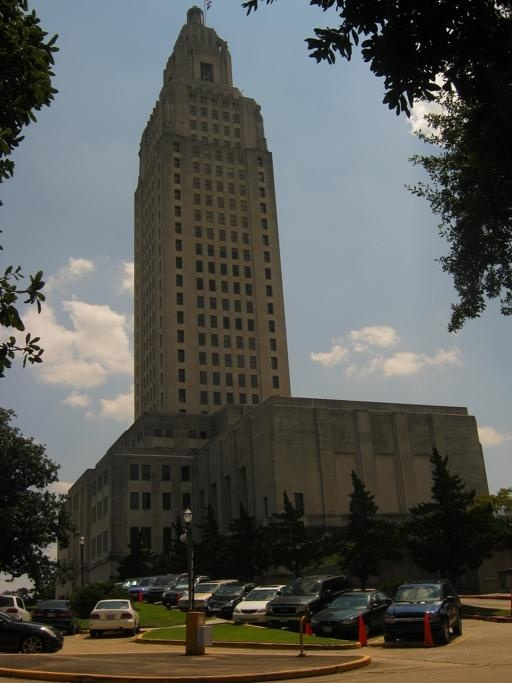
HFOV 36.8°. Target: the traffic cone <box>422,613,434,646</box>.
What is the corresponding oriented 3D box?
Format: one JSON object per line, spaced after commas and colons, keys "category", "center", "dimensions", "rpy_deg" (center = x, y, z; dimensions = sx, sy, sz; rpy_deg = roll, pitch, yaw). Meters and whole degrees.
{"category": "traffic cone", "center": [4.137, 6.948, 18.621], "dimensions": [0.209, 0.731, 0.462], "rpy_deg": [-6, -19, 10]}
